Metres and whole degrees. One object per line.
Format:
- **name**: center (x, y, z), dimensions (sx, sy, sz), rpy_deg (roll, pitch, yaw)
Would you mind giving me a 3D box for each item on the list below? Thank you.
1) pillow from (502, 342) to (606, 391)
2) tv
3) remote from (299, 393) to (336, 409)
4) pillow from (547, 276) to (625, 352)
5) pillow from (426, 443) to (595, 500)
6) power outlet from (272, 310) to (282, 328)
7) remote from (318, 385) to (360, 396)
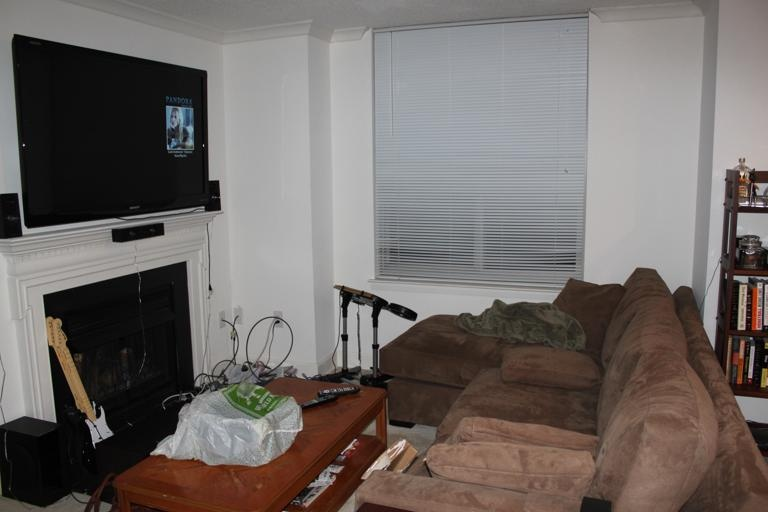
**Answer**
- **pillow**: center (1.193, 0.775, 3.871), dimensions (0.784, 0.226, 0.815), rpy_deg (2, 4, 4)
- **tv**: center (-2.035, -0.905, 3.956), dimensions (0.159, 1.156, 1.570), rpy_deg (10, 13, 34)
- **remote**: center (-0.435, 0.912, 3.529), dimensions (0.208, 0.043, 0.079), rpy_deg (-11, 13, -32)
- **pillow**: center (1.586, 0.446, 4.171), dimensions (0.483, 0.491, 0.165), rpy_deg (16, -13, 43)
- **pillow**: center (0.582, 0.942, 2.523), dimensions (0.621, 0.204, 0.170), rpy_deg (2, -7, 9)
- **power outlet**: center (-1.012, 0.589, 5.172), dimensions (0.102, 0.167, 0.023), rpy_deg (1, 9, 22)
- **remote**: center (-0.299, 0.894, 3.626), dimensions (0.191, 0.028, 0.096), rpy_deg (-2, 5, -11)
